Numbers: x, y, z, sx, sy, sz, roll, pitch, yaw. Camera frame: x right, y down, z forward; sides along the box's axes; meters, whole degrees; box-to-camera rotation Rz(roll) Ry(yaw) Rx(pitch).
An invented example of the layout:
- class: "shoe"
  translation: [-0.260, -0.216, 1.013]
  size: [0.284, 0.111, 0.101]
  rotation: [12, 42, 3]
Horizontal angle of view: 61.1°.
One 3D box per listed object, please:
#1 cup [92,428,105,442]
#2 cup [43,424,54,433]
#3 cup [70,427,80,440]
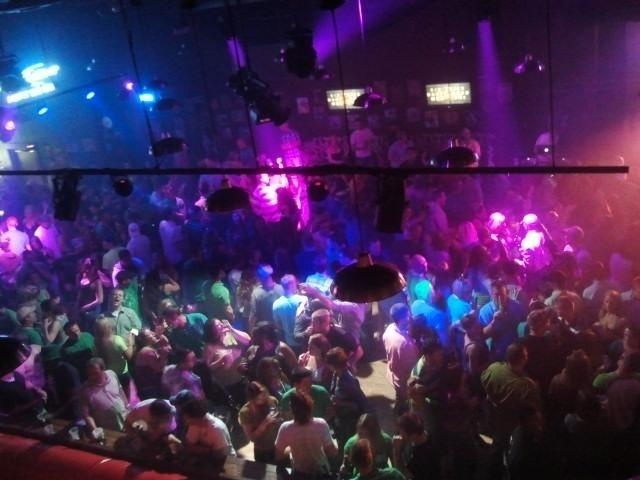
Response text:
- class: "cup"
  translation: [-2.708, 2.394, 6.711]
  size: [0.145, 0.117, 0.151]
  rotation: [0, 5, 0]
- class: "cup"
  translation: [-3.411, 2.382, 6.862]
  size: [0.101, 0.090, 0.106]
  rotation: [0, 4, 0]
- class: "cup"
  translation: [-3.027, 2.408, 6.739]
  size: [0.123, 0.137, 0.127]
  rotation: [3, 1, 0]
